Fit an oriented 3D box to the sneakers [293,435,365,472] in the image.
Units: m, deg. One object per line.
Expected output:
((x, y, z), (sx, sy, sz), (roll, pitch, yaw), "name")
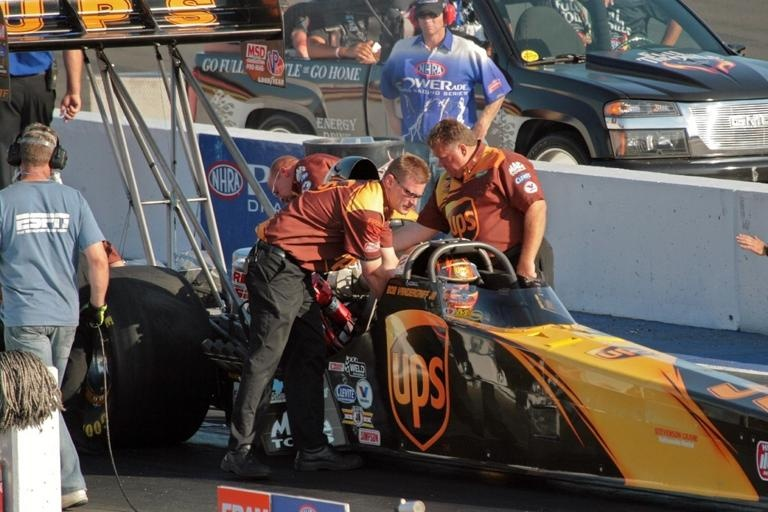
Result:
((-0.386, 1.353, 8.142), (0.497, 0.194, 0.167), (-1, 7, -8), "sneakers")

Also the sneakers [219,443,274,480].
((-0.924, 1.381, 8.045), (0.407, 0.191, 0.159), (5, 5, 29), "sneakers")

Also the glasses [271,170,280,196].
((-0.898, -0.591, 9.659), (0.077, 0.157, 0.153), (3, -1, 1), "glasses")

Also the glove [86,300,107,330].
((-1.979, 0.400, 8.204), (0.129, 0.166, 0.222), (-5, -3, -14), "glove")

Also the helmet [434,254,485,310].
((0.472, 0.190, 7.764), (0.276, 0.305, 0.328), (-1, 2, -24), "helmet")
